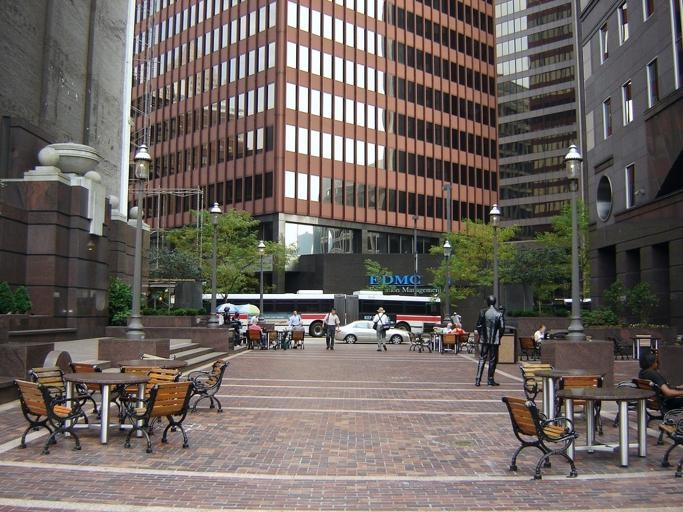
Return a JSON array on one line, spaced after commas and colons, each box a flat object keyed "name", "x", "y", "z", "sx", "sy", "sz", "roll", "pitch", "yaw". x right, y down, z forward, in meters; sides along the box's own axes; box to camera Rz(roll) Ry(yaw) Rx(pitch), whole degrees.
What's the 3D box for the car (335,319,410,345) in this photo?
[{"name": "car", "x": 1.958, "y": 5.335, "z": 43.071, "sx": 4.825, "sy": 1.643, "sz": 1.870, "roll": -1, "pitch": -1, "yaw": -5}]
